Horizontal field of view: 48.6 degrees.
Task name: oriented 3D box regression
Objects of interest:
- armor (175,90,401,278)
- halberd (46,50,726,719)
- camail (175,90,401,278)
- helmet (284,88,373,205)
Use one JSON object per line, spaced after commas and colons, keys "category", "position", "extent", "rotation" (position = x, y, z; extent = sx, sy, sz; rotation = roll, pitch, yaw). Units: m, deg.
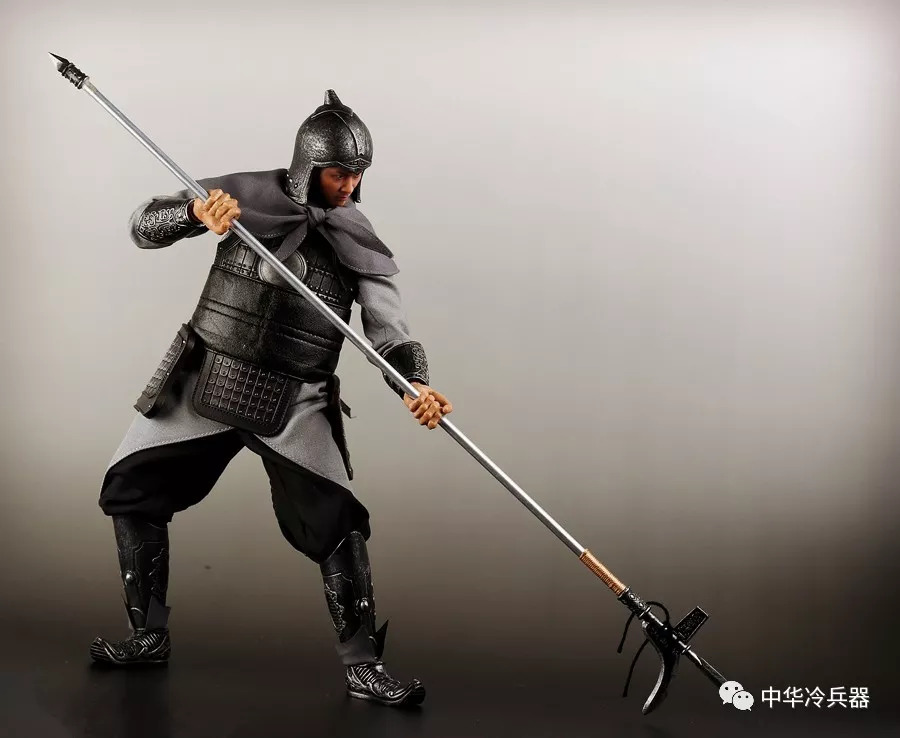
{"category": "armor", "position": [-0.430, -0.590, 3.181], "extent": [0.683, 0.545, 0.359], "rotation": [2, 19, -34]}
{"category": "halberd", "position": [-0.313, 0.015, 3.601], "extent": [2.829, 0.167, 0.486], "rotation": [43, 25, -2]}
{"category": "camail", "position": [-0.419, -0.614, 3.168], "extent": [0.690, 0.545, 0.339], "rotation": [2, 22, -32]}
{"category": "helmet", "position": [-0.388, -0.699, 3.133], "extent": [0.245, 0.324, 0.303], "rotation": [-5, 29, -29]}
